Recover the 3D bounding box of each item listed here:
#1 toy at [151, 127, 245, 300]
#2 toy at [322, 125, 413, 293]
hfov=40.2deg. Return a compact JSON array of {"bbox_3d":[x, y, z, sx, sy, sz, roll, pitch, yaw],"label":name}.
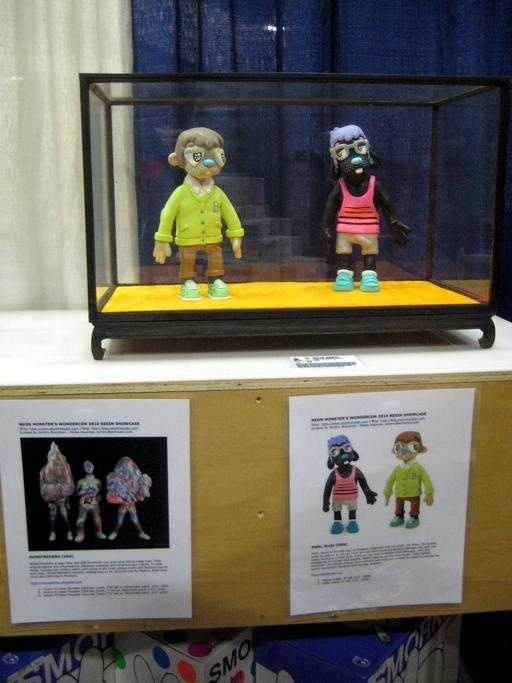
[{"bbox_3d":[-0.120,-0.279,1.455,0.189,0.318,0.063,-1,14,-2],"label":"toy"},{"bbox_3d":[0.253,-0.293,1.542,0.209,0.348,0.068,-6,15,-21],"label":"toy"}]
